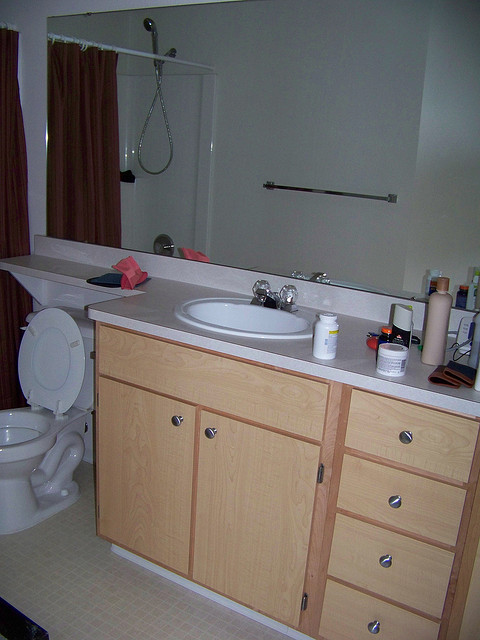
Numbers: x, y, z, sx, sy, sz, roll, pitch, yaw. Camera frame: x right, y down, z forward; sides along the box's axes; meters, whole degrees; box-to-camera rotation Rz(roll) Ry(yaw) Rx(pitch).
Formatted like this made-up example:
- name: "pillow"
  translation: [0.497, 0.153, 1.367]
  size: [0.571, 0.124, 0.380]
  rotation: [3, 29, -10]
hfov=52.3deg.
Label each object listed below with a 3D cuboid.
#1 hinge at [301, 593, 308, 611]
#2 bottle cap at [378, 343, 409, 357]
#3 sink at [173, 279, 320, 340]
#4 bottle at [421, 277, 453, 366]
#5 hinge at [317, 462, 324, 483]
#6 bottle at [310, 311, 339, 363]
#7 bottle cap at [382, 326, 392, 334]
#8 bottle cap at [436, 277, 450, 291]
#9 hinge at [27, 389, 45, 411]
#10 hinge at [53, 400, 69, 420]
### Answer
- name: "hinge"
  translation: [0.164, 0.714, 1.234]
  size: [0.014, 0.056, 0.012]
  rotation: [4, 9, 3]
- name: "bottle cap"
  translation: [0.330, 0.064, 1.031]
  size: [0.073, 0.016, 0.053]
  rotation: [-4, 13, -43]
- name: "sink"
  translation: [0.016, -0.032, 1.430]
  size: [0.415, 0.155, 0.470]
  rotation: [6, 10, 8]
- name: "bottle"
  translation: [0.468, 0.002, 1.151]
  size: [0.052, 0.201, 0.124]
  rotation: [8, 10, 23]
- name: "hinge"
  translation: [0.185, 0.354, 1.119]
  size: [0.008, 0.036, 0.019]
  rotation: [9, -2, 6]
- name: "bottle"
  translation: [0.193, 0.032, 1.102]
  size: [0.074, 0.104, 0.078]
  rotation: [2, 21, -1]
- name: "bottle cap"
  translation: [0.360, 0.023, 1.188]
  size: [0.019, 0.005, 0.019]
  rotation: [-12, 18, -36]
- name: "bottle cap"
  translation: [0.456, -0.080, 1.098]
  size: [0.028, 0.032, 0.029]
  rotation: [-6, 17, -17]
- name: "hinge"
  translation: [-0.785, 0.306, 1.895]
  size: [0.051, 0.081, 0.075]
  rotation: [10, 14, 33]
- name: "hinge"
  translation: [-0.653, 0.324, 1.791]
  size: [0.051, 0.075, 0.052]
  rotation: [-3, 12, -38]
